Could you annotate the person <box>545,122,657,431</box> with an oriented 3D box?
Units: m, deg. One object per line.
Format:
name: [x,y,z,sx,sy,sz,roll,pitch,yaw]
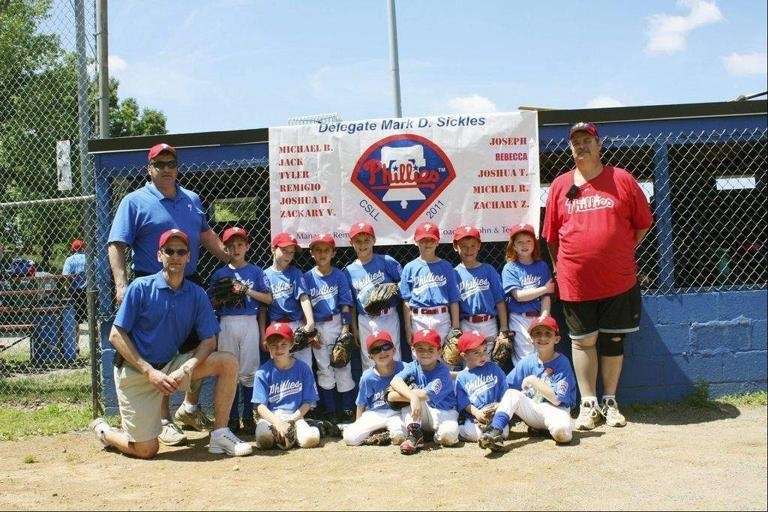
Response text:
person: [2.306,0.437,10.981,1.096,2.785,0.409,-2,1,8]

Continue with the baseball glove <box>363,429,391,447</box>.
baseball glove: [-0.042,1.929,10.732,0.352,0.142,0.118,2,-4,-1]

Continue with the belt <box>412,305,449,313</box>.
belt: [0.506,0.591,11.251,0.394,0.095,0.109,-2,1,-2]

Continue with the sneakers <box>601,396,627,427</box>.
sneakers: [2.478,1.694,11.021,0.171,0.151,0.396,-2,2,-2]

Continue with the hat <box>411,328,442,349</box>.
hat: [0.460,0.877,10.819,0.298,0.200,0.198,-2,1,-1]

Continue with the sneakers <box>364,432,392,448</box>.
sneakers: [-0.055,1.914,10.738,0.285,0.097,0.079,-2,1,-3]

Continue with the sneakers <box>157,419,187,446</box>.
sneakers: [-2.238,1.890,10.889,0.178,0.163,0.398,5,-9,-45]

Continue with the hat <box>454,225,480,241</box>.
hat: [0.924,-0.251,11.359,0.284,0.174,0.200,-2,1,4]

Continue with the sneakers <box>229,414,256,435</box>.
sneakers: [-1.550,1.866,11.259,0.143,0.162,0.379,6,-10,-30]

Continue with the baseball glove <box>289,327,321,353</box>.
baseball glove: [-0.854,0.910,11.237,0.336,0.188,0.144,-2,1,-26]

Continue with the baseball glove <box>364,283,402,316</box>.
baseball glove: [-0.010,0.450,11.241,0.384,0.309,0.113,-28,16,-20]

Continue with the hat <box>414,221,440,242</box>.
hat: [0.485,-0.264,11.347,0.269,0.213,0.221,-2,1,-1]

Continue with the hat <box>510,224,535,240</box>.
hat: [1.553,-0.278,11.354,0.247,0.173,0.396,-1,4,9]

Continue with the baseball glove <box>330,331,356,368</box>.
baseball glove: [-0.454,1.016,11.265,0.192,0.227,0.340,35,33,-17]

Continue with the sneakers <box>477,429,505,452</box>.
sneakers: [1.126,1.873,10.384,0.143,0.158,0.311,23,-2,40]

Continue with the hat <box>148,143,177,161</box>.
hat: [-2.407,-1.126,11.057,0.213,0.166,0.295,0,0,-17]

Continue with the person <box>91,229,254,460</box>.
person: [-2.227,0.910,10.670,1.416,1.871,0.644,-2,1,-16]

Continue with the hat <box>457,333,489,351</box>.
hat: [0.940,0.905,10.805,0.184,0.130,0.242,-5,-11,-45]

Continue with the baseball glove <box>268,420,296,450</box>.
baseball glove: [-1.044,1.889,10.697,0.269,0.197,0.111,-2,1,-8]

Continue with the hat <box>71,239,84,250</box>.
hat: [-4.774,-0.173,15.998,0.166,0.189,0.190,6,17,-24]

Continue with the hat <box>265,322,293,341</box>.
hat: [-1.125,0.812,11.061,0.297,0.138,0.353,-2,1,-2]

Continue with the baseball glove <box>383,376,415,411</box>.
baseball glove: [0.171,1.491,10.787,0.289,0.216,0.126,0,37,47]

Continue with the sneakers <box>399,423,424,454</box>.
sneakers: [0.294,1.880,10.565,0.237,0.204,0.124,-3,1,-43]

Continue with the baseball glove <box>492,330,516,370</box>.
baseball glove: [1.306,1.024,11.214,0.262,0.384,0.125,6,5,-15]

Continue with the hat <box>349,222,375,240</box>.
hat: [-0.249,-0.281,11.398,0.248,0.173,0.391,-1,-1,-4]

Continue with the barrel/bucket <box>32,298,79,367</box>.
barrel/bucket: [-4.739,1.128,14.750,0.840,1.103,0.812,-1,-7,0]

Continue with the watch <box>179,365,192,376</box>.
watch: [-2.032,1.169,10.538,0.110,0.101,0.069,-20,41,-30]

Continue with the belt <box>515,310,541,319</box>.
belt: [1.602,0.647,11.279,0.268,0.075,0.063,-2,1,2]
